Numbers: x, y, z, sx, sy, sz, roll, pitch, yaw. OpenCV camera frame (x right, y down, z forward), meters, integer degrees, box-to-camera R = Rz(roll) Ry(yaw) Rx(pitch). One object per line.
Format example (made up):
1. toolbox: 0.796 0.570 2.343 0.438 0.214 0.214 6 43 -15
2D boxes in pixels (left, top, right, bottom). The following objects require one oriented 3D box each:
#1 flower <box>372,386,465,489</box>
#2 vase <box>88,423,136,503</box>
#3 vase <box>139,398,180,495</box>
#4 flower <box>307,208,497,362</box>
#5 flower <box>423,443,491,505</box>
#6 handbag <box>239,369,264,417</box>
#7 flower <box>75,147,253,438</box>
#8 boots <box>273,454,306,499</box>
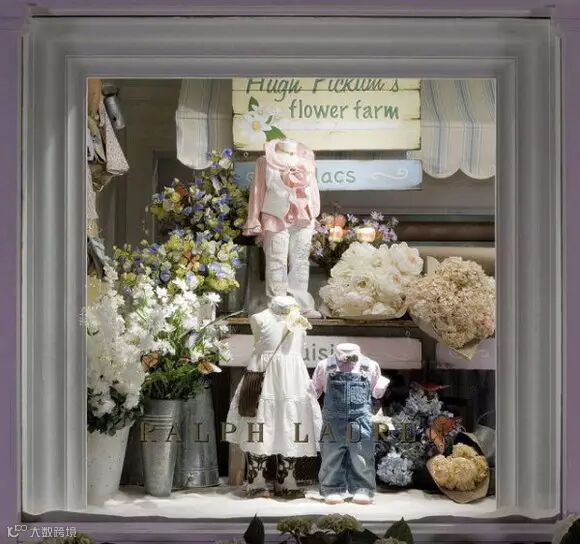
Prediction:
1. flower: 0.490 0.614 4.292 0.296 0.338 0.182 -1 -14 -16
2. vase: -0.673 0.671 4.127 0.216 0.196 0.209 2 -13 -26
3. vase: -0.464 0.625 4.188 0.128 0.354 0.245 -6 0 16
4. flower: 0.393 0.044 4.634 0.570 0.587 0.530 -6 1 -8
5. flower: 0.639 0.742 4.370 0.263 0.134 0.310 -5 -25 39
6. handbag: -0.146 0.456 4.304 0.118 0.149 0.043 1 -13 43
7. flower: -0.457 0.088 4.299 0.876 0.903 0.655 -5 -9 -7
8. boots: -0.006 0.747 4.225 0.112 0.156 0.194 -6 1 -1
